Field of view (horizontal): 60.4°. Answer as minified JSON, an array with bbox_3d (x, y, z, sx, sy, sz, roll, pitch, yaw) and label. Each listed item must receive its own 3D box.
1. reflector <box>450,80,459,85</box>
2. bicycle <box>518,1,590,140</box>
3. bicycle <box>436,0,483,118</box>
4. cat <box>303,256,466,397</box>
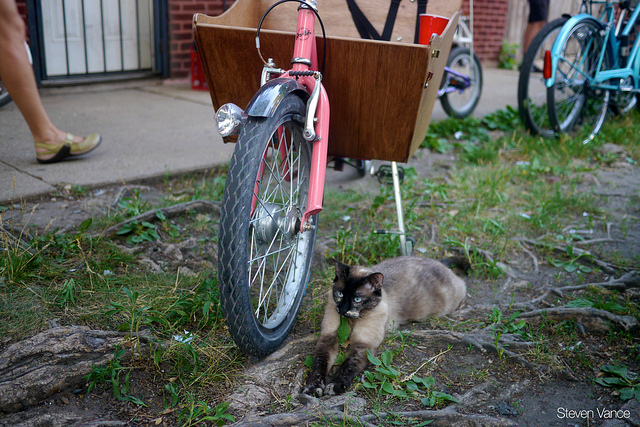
[{"bbox_3d":[1.763,-1.723,7.202,0.156,0.069,0.026,-11,24,-24],"label":"reflector"},{"bbox_3d":[2.620,-1.646,6.289,0.544,1.441,1.144,10,24,23],"label":"bicycle"},{"bbox_3d":[2.092,-2.312,7.885,0.548,1.479,3.104,6,25,15],"label":"bicycle"},{"bbox_3d":[0.494,0.621,4.073,0.617,0.774,1.641,-1,14,45],"label":"cat"}]
